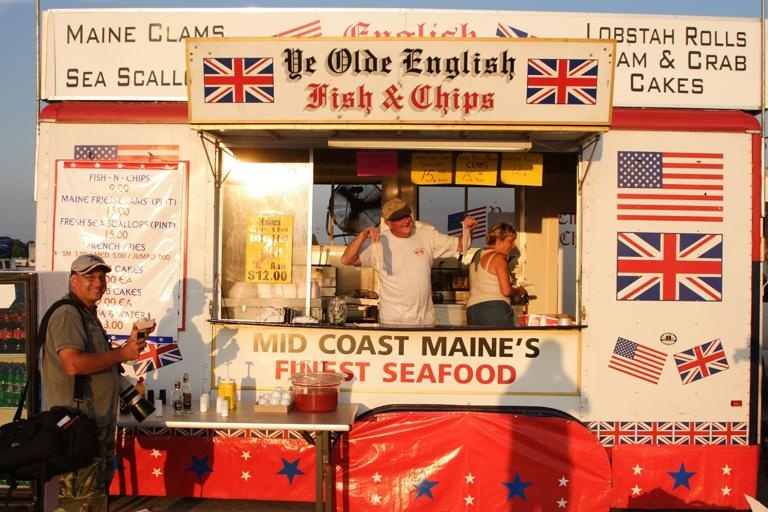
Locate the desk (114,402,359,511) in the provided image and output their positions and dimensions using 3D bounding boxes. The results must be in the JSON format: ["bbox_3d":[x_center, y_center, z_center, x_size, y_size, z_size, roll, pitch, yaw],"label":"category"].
[{"bbox_3d":[-1.344,1.839,14.048,2.113,1.003,0.593,2,-3,-1],"label":"desk"}]

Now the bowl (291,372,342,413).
[{"bbox_3d":[-0.633,1.266,14.022,0.396,0.358,0.320,2,0,-3],"label":"bowl"}]

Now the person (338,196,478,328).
[{"bbox_3d":[0.325,0.371,14.675,1.264,1.890,0.495,-7,17,1],"label":"person"}]
